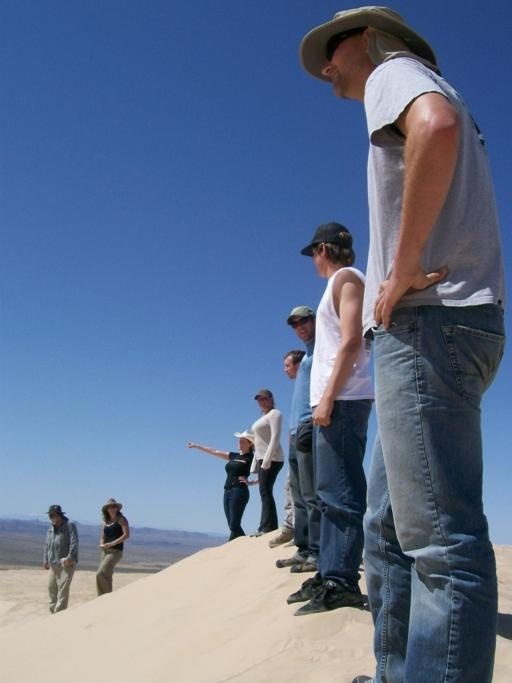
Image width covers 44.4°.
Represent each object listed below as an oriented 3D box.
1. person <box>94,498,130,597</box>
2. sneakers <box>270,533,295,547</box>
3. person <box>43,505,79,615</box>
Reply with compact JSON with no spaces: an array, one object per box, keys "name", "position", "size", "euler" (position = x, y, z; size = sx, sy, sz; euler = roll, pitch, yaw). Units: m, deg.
[{"name":"person","position":[-2.081,2.987,9.113],"size":[0.453,1.336,0.982],"euler":[2,-13,-11]},{"name":"sneakers","position":[0.238,1.904,5.968],"size":[0.280,0.120,0.088],"euler":[2,-6,-19]},{"name":"person","position":[-2.895,3.239,9.278],"size":[0.490,1.595,1.287],"euler":[4,-13,-17]}]
